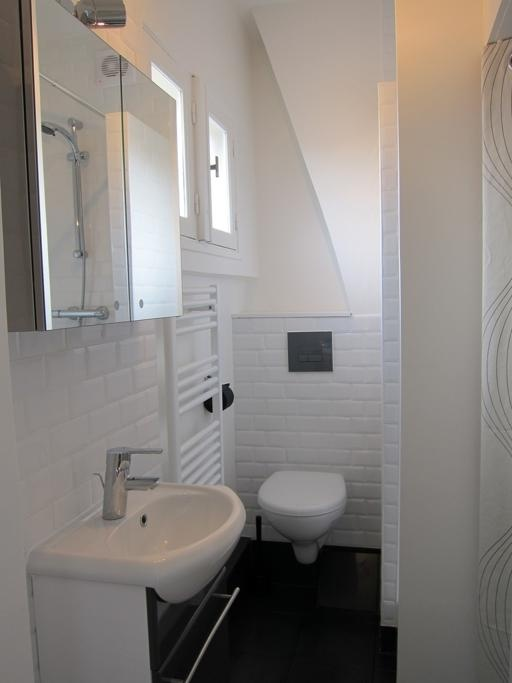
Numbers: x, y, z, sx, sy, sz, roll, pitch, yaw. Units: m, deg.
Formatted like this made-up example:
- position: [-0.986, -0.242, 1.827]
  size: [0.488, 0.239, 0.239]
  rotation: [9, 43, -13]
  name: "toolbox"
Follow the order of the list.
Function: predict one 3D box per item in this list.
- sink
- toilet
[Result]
- position: [-0.211, 0.413, 1.135]
  size: [0.353, 0.134, 0.431]
  rotation: [4, 9, 11]
  name: "sink"
- position: [0.201, 0.842, 2.379]
  size: [0.367, 0.429, 0.437]
  rotation: [3, 8, 10]
  name: "toilet"
